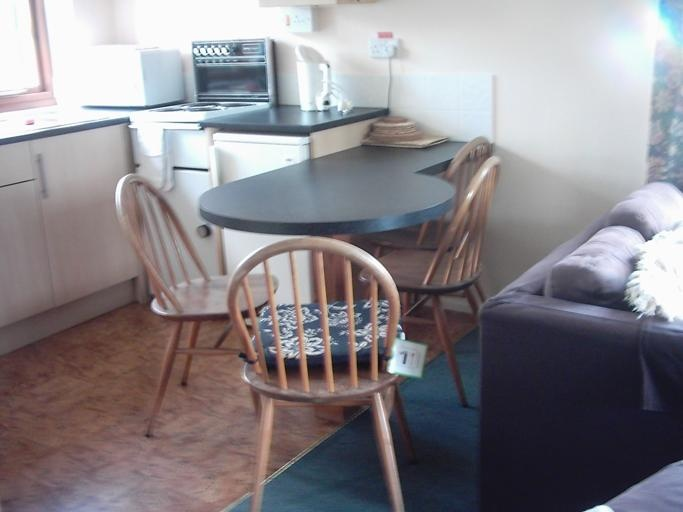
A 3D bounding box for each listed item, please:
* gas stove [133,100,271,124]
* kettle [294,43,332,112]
[{"bbox_3d":[-0.816,-0.843,3.166,0.564,0.104,0.444,12,22,29],"label":"gas stove"},{"bbox_3d":[-0.159,-1.026,3.121,0.193,0.359,0.135,1,23,2],"label":"kettle"}]
